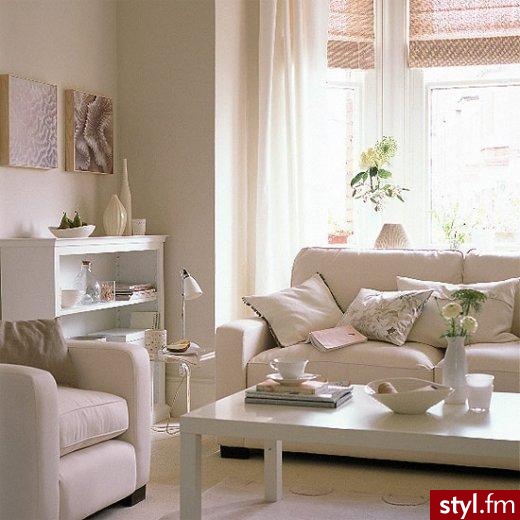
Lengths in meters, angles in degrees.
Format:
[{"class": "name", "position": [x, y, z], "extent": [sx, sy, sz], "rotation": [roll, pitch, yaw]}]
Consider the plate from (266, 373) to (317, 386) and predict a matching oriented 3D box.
[{"class": "plate", "position": [0.105, 0.394, 1.713], "extent": [0.078, 0.018, 0.085], "rotation": [1, -2, 22]}]

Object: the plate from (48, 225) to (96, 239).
[{"class": "plate", "position": [-0.999, -0.147, 2.802], "extent": [0.220, 0.072, 0.134], "rotation": [0, -4, -23]}]

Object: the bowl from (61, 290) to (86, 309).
[{"class": "bowl", "position": [-0.976, 0.211, 2.747], "extent": [0.078, 0.057, 0.086], "rotation": [-2, -1, 0]}]

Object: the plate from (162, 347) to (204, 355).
[{"class": "plate", "position": [-0.367, 0.465, 2.631], "extent": [0.210, 0.030, 0.149], "rotation": [2, -5, -43]}]

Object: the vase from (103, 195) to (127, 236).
[{"class": "vase", "position": [-0.881, -0.265, 3.208], "extent": [0.131, 0.250, 0.083], "rotation": [0, -2, -20]}]

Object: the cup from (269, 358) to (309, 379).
[{"class": "cup", "position": [0.098, 0.362, 1.736], "extent": [0.108, 0.067, 0.156], "rotation": [-2, -3, 2]}]

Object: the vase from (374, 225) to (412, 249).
[{"class": "vase", "position": [0.880, -0.139, 3.469], "extent": [0.162, 0.138, 0.179], "rotation": [0, -4, 4]}]

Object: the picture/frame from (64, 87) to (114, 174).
[{"class": "picture/frame", "position": [-1.066, -0.799, 3.254], "extent": [0.058, 0.590, 0.580], "rotation": [0, -1, 17]}]
